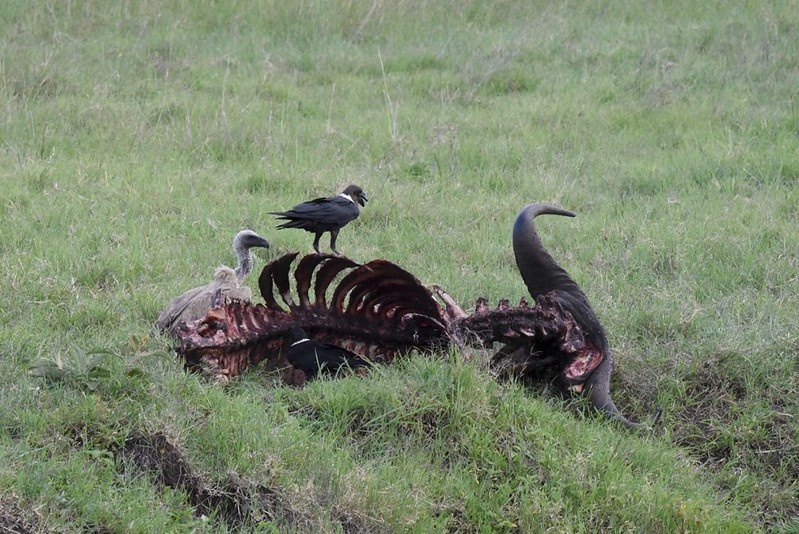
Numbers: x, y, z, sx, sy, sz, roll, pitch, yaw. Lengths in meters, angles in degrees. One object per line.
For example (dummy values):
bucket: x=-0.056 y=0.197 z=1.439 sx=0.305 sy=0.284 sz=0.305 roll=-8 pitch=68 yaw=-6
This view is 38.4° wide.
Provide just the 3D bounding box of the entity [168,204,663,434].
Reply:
entity: x=0.255 y=0.455 z=10.771 sx=4.658 sy=2.047 sz=1.282 roll=-1 pitch=-4 yaw=-16

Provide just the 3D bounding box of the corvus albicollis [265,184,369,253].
corvus albicollis: x=-0.746 y=-0.483 z=11.213 sx=1.074 sy=0.740 sz=0.356 roll=5 pitch=-18 yaw=-34

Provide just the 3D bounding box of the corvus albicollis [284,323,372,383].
corvus albicollis: x=-0.654 y=0.832 z=10.557 sx=0.920 sy=0.621 sz=0.376 roll=-8 pitch=-7 yaw=15
